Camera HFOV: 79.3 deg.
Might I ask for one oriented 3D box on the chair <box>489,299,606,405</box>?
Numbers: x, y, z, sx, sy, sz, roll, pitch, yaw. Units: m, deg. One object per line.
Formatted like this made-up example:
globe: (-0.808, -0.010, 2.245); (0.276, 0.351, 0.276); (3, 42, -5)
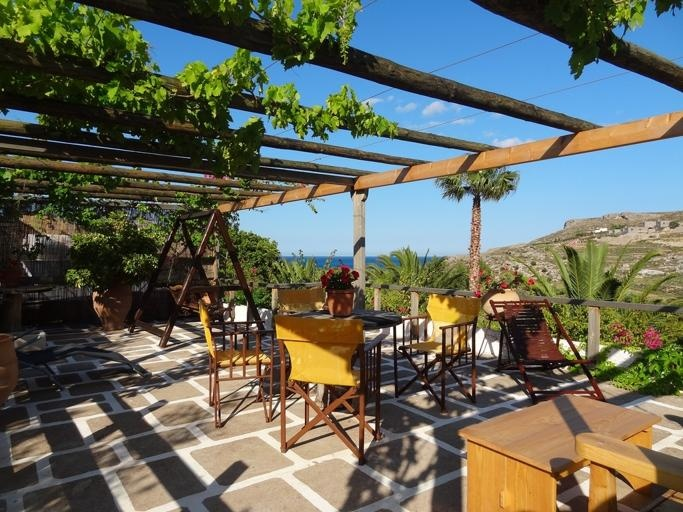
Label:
chair: (2.544, 1.131, 5.318); (1.102, 1.072, 1.814); (1, 3, 20)

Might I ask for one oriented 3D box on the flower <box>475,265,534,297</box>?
flower: (3.729, 0.558, 9.350); (0.867, 0.482, 0.891); (-2, 3, -13)

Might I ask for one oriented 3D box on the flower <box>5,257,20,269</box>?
flower: (-6.984, 0.143, 8.687); (0.346, 0.257, 0.308); (1, 3, -22)

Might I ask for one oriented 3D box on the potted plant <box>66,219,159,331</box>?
potted plant: (-4.870, 0.484, 8.955); (1.778, 1.900, 1.921); (-12, -19, 8)

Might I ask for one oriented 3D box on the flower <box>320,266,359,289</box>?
flower: (0.000, 0.248, 4.614); (0.336, 0.234, 0.324); (1, 3, -39)

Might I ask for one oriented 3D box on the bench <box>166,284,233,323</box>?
bench: (-2.885, 0.972, 8.547); (0.839, 0.989, 1.726); (-2, 0, -9)

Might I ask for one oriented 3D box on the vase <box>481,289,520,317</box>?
vase: (2.357, 0.686, 6.203); (0.559, 0.294, 0.567); (-10, -10, 43)

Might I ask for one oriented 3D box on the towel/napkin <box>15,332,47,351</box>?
towel/napkin: (-4.462, 1.239, 5.913); (0.486, 0.160, 0.445); (-5, -2, 26)

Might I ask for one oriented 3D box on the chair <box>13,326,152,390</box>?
chair: (-3.519, 1.333, 5.489); (1.424, 0.418, 0.981); (9, -8, -31)
